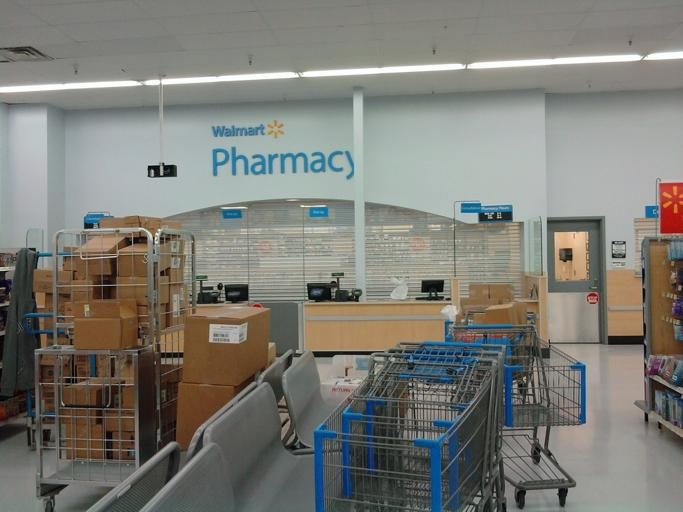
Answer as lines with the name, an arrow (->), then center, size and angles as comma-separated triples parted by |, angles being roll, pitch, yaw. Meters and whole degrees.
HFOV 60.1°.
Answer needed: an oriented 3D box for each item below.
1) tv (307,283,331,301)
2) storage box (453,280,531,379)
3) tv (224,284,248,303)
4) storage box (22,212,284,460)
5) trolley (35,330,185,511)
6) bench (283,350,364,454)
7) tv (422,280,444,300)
tv -> -0.401, 0.608, 10.066 | 0.462, 0.387, 0.262 | 0, -4, 0
storage box -> 1.688, 0.742, 6.341 | 0.805, 1.280, 1.302 | -1, -5, 10
tv -> -1.874, 0.648, 10.305 | 0.475, 0.388, 0.254 | 0, -3, -5
storage box -> -2.023, 0.655, 6.276 | 2.165, 3.138, 2.488 | 1, 3, 8
trolley -> -2.264, 1.405, 5.289 | 0.991, 1.557, 1.704 | 0, -3, 0
bench -> -0.171, 1.213, 4.891 | 0.357, 0.654, 0.959 | -1, 2, 8
tv -> 1.607, 0.558, 10.185 | 0.473, 0.319, 0.421 | -5, 4, -25
